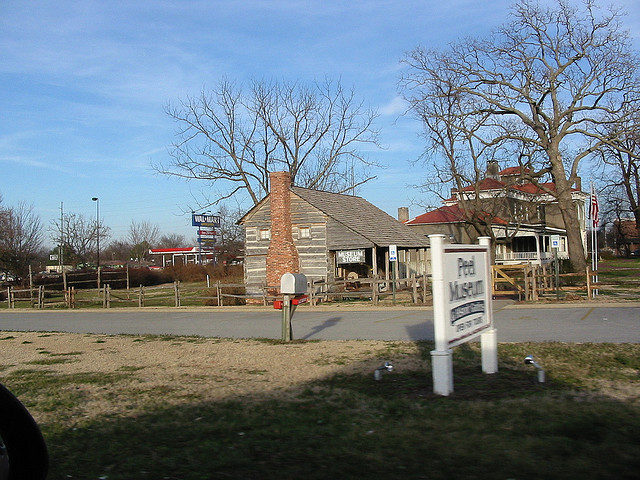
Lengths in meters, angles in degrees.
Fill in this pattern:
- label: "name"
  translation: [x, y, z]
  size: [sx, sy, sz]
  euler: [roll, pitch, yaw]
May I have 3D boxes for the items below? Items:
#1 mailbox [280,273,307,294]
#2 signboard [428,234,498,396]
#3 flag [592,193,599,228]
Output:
- label: "mailbox"
  translation: [-0.669, 1.066, 15.062]
  size: [0.524, 0.586, 0.754]
  euler: [1, 0, 23]
- label: "signboard"
  translation: [2.455, 1.383, 10.613]
  size: [0.593, 2.641, 2.818]
  euler: [-4, -4, 29]
- label: "flag"
  translation: [10.322, -1.062, 23.172]
  size: [0.171, 1.141, 0.977]
  euler: [-2, 2, 23]
